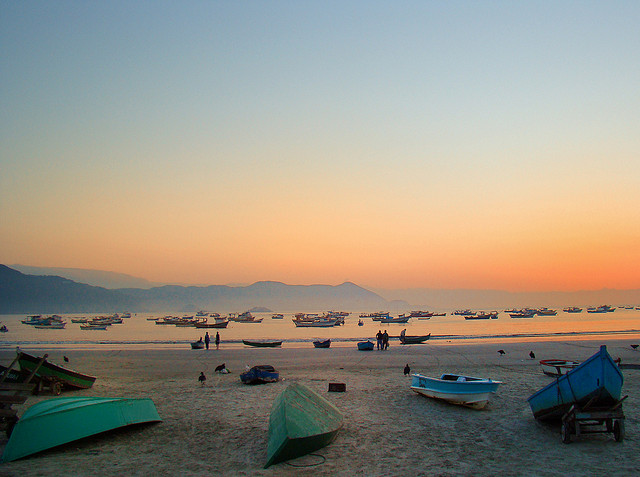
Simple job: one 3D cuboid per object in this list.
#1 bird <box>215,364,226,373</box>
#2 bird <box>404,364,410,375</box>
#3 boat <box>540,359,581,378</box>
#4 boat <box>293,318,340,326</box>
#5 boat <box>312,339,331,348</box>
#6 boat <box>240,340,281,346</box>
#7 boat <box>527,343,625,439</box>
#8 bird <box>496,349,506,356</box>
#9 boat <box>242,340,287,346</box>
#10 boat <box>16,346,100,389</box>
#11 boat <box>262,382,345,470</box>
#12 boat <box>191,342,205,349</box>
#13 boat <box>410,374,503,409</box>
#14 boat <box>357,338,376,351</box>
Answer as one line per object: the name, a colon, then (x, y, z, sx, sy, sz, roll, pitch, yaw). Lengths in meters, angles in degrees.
bird: (-6.143, 8.028, 36.981, 0.501, 0.535, 0.995, -1, -3, -10)
bird: (5.073, 7.776, 35.282, 0.305, 0.535, 0.622, -2, -3, 7)
boat: (13.414, 7.251, 33.785, 2.208, 0.894, 4.288, 2, -6, 11)
boat: (-0.451, 16.812, 120.426, 6.885, 1.300, 8.541, -1, -3, 6)
boat: (-0.004, 9.908, 56.016, 0.639, 0.431, 1.782, 5, -16, -34)
boat: (-5.854, 10.370, 59.615, 4.392, 0.418, 0.855, 2, -7, 13)
boat: (11.755, 7.184, 27.830, 2.406, 2.092, 4.526, 3, -29, -6)
bird: (13.264, 8.317, 44.032, 0.321, 0.298, 0.900, -11, 0, 32)
boat: (-5.699, 10.358, 58.983, 4.805, 0.504, 0.960, 1, -3, 8)
boat: (-13.391, 6.756, 30.437, 1.868, 2.222, 3.579, -2, -3, 9)
boat: (-0.786, 7.639, 24.554, 2.272, 2.765, 3.299, -3, -4, 27)
boat: (-10.623, 9.315, 52.322, 0.970, 0.527, 1.552, 0, -3, -11)
boat: (6.748, 7.463, 29.567, 2.391, 1.086, 4.621, 18, -16, -35)
boat: (3.729, 8.837, 49.503, 1.154, 0.714, 1.625, -1, -3, -5)
